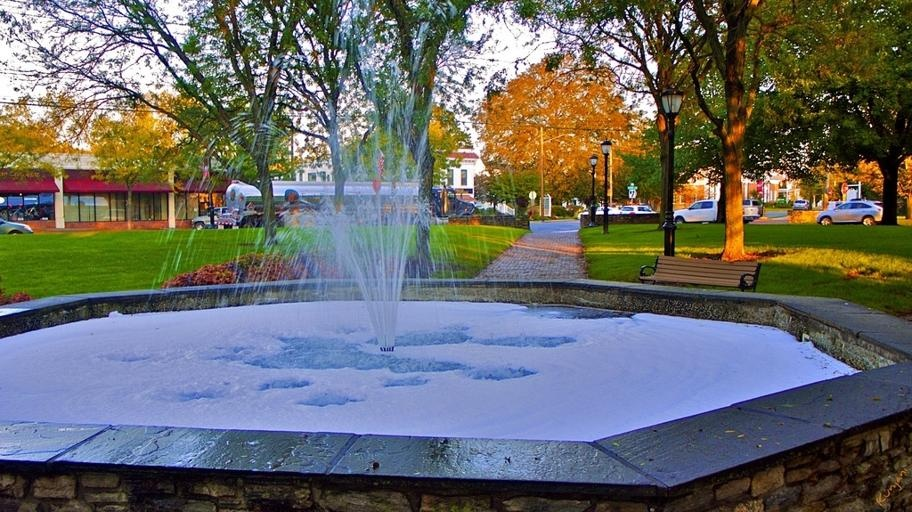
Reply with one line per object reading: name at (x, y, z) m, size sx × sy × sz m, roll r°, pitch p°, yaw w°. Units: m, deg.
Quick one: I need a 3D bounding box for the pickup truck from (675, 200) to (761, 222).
pickup truck at (20.013, -3.449, 48.952) m, size 7.535 × 1.719 × 3.046 m, roll -2°, pitch 8°, yaw -23°

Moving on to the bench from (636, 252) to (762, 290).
bench at (6.304, 0.594, 16.717) m, size 0.915 × 0.936 × 2.875 m, roll -14°, pitch 12°, yaw -35°

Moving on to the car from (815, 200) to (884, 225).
car at (27.529, -3.031, 44.511) m, size 2.369 × 1.581 × 3.644 m, roll -6°, pitch 10°, yaw -42°
